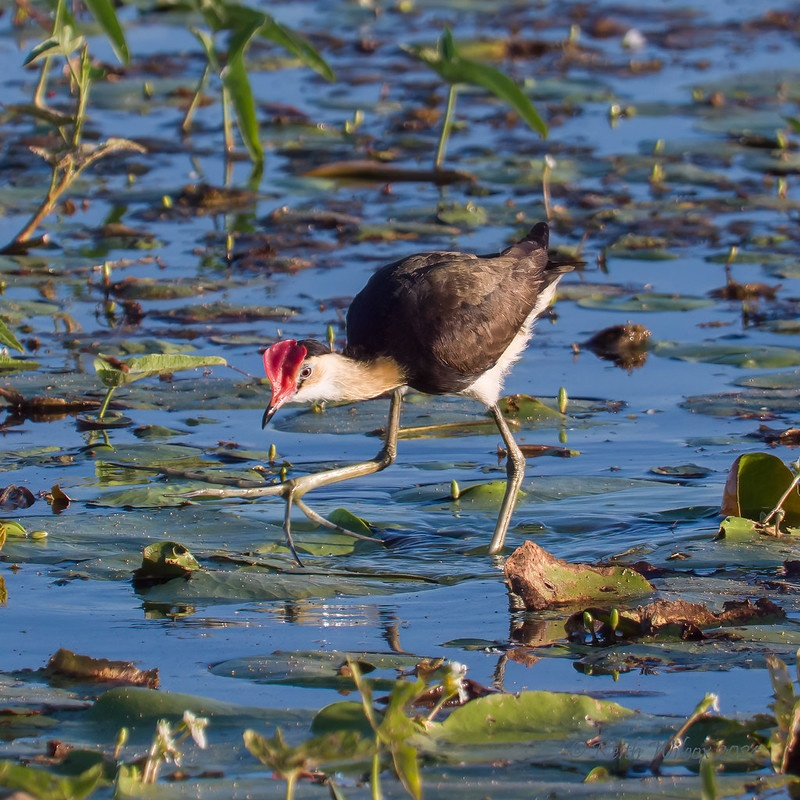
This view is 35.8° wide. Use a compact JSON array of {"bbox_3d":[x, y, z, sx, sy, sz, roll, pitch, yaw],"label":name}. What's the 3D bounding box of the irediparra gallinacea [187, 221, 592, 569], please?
[{"bbox_3d":[0.092,-0.081,4.925,1.044,1.191,1.700,3,5,7],"label":"irediparra gallinacea"}]
